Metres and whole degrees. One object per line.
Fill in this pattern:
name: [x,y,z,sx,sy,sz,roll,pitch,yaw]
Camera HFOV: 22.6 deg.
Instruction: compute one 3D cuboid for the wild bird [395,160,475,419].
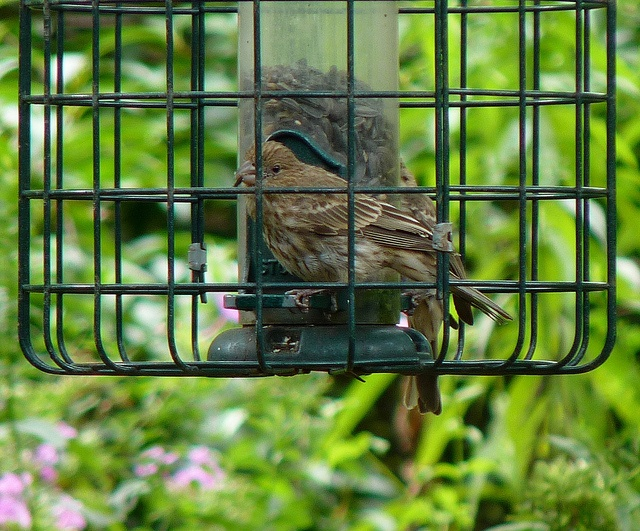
wild bird: [0.460,0.095,7.182,0.315,1.167,0.436,-1,-5,-3]
